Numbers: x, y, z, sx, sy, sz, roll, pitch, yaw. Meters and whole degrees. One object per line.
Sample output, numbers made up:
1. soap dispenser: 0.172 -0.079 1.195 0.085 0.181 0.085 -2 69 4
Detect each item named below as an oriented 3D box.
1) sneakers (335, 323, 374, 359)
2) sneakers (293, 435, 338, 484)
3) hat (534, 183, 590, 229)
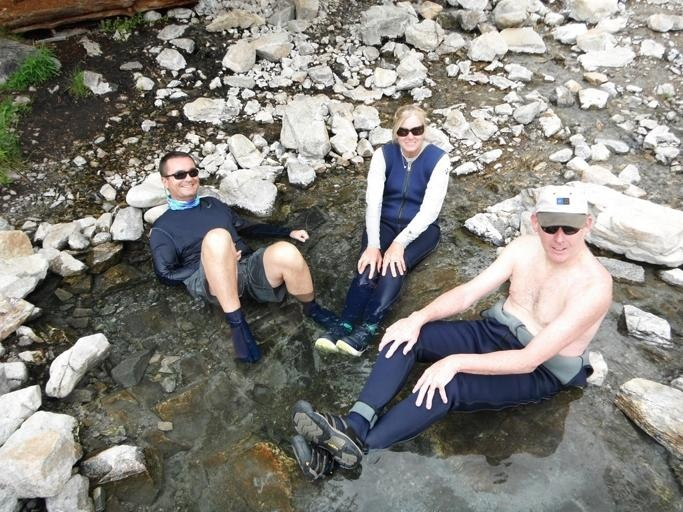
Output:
1. sneakers: 0.145 0.737 4.737 0.162 0.457 0.192 38 101 18
2. sneakers: -0.230 1.549 4.182 0.410 0.171 0.254 33 89 -17
3. hat: 1.666 -0.362 3.993 0.383 0.233 0.294 12 50 9
